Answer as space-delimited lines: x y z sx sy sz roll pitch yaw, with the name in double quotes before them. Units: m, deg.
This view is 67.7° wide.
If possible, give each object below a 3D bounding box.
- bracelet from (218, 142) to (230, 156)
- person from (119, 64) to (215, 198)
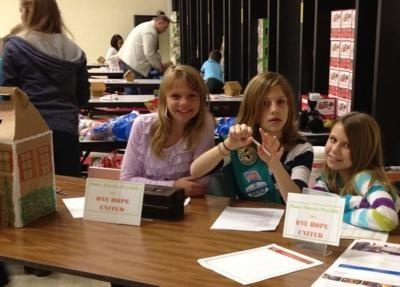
"bracelet" 0.120 0.030 1.540 0.024 0.061 0.054 -31 -30 26
"person" -0.186 -0.079 1.723 0.523 0.747 0.505 0 11 -17
